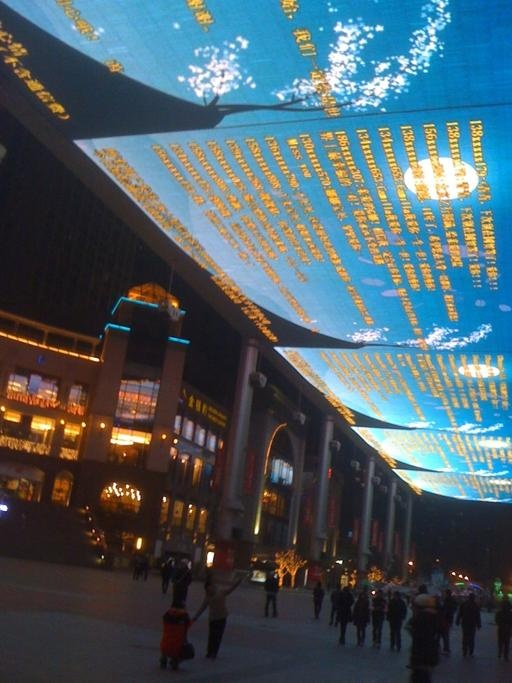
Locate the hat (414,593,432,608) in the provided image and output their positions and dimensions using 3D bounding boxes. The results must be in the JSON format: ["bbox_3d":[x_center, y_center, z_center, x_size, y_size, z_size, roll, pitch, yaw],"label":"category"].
[{"bbox_3d":[1.415,2.202,4.478,0.143,0.082,0.374,4,-16,19],"label":"hat"}]
